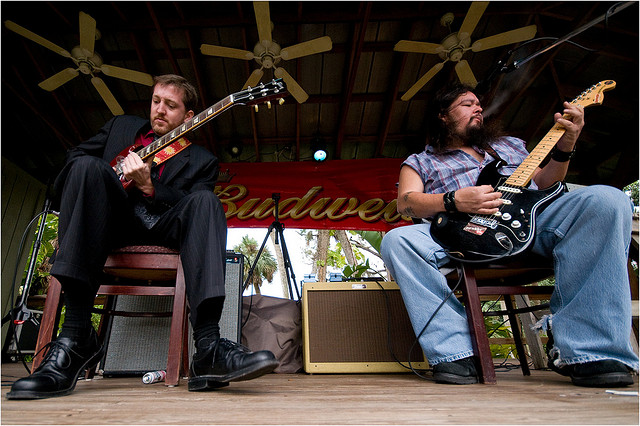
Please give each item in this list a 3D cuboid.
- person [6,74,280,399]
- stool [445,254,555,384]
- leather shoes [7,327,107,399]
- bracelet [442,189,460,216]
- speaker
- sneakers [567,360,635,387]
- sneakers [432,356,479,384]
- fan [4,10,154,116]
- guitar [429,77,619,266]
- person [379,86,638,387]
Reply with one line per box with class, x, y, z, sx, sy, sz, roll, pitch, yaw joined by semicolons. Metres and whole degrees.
person;-1.011;-0.032;2.560;1.160;2.079;0.507;-1;-21;-10
stool;1.313;0.636;2.680;0.488;0.580;0.681;-25;-30;32
leather shoes;-1.356;0.788;2.259;0.183;0.198;0.472;0;-2;9
bracelet;0.804;-0.061;2.632;0.100;0.143;0.139;-5;-21;25
speaker;-1.009;0.695;2.725;0.954;0.866;0.554;-1;-14;0
sneakers;1.463;0.821;2.259;0.325;0.118;0.131;-5;-8;38
sneakers;0.768;0.909;2.433;0.274;0.126;0.113;19;-39;-23
fan;-3.277;-2.036;5.684;1.599;0.530;1.437;-23;-52;11
guitar;1.532;-0.173;2.810;0.660;1.804;0.252;33;-18;50
person;1.135;-0.036;2.726;1.360;2.149;0.469;-10;-21;15
